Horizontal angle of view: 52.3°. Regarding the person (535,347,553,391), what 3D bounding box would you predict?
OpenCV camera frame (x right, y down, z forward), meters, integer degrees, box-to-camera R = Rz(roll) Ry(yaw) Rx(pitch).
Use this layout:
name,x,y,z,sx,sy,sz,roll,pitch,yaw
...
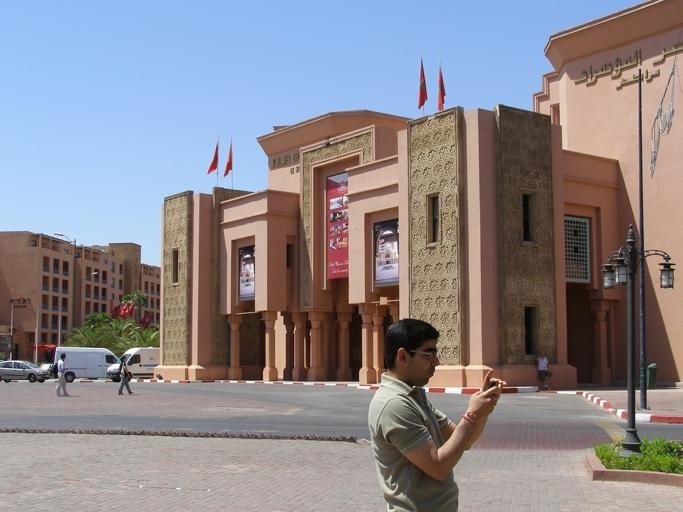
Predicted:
name,x,y,z,sx,sy,sz,roll,pitch,yaw
person,8.415,4.734,28.850,0.622,1.490,0.641,0,-2,3

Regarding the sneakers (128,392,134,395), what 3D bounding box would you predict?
name,x,y,z,sx,sy,sz,roll,pitch,yaw
sneakers,-8.763,5.706,29.030,0.163,0.173,0.123,-7,-15,21
